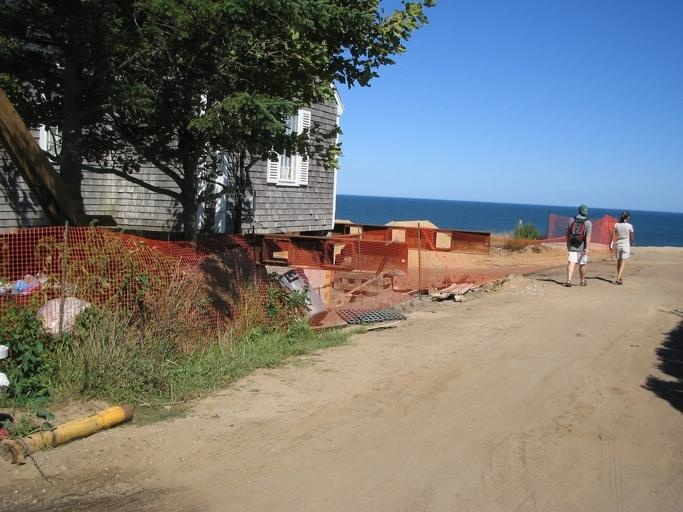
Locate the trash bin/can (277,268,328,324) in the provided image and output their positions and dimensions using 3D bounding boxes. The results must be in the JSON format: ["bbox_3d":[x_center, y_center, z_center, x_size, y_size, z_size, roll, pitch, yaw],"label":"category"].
[{"bbox_3d":[-0.857,0.789,11.035,0.739,0.975,0.941,4,11,28],"label":"trash bin/can"}]

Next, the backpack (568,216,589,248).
[{"bbox_3d":[6.114,-0.695,13.959,0.427,0.720,0.389,17,30,28],"label":"backpack"}]

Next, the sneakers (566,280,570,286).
[{"bbox_3d":[5.948,0.723,14.123,0.119,0.159,0.381,-2,-4,16],"label":"sneakers"}]
